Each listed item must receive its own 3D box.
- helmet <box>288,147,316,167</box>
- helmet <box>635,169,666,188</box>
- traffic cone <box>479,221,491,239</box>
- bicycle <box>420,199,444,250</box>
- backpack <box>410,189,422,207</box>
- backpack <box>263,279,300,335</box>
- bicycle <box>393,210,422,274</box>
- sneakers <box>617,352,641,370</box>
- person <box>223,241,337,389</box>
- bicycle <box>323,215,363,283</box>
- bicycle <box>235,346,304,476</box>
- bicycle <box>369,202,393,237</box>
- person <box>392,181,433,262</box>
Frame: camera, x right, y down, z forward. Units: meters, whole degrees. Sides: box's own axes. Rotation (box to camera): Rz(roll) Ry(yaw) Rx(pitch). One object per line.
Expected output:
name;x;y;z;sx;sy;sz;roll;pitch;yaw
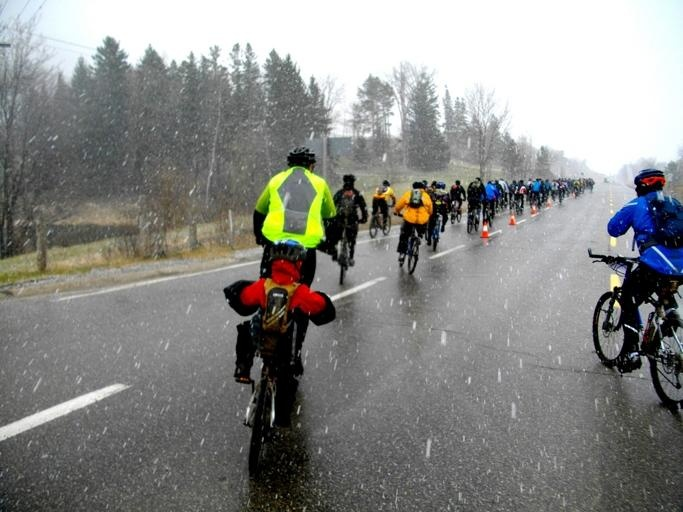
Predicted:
helmet;-0.425;-1.081;6.121;0.167;0.127;0.287;6;22;8
helmet;3.765;-0.946;6.795;0.318;0.341;0.269;8;9;31
traffic cone;5.790;-1.054;22.478;0.470;0.889;0.553;1;11;17
bicycle;2.791;-0.774;16.864;0.742;1.304;1.819;4;13;8
backpack;1.706;-1.321;12.838;0.230;0.179;0.344;2;52;11
backpack;-0.580;0.471;5.280;0.332;0.454;0.203;1;10;3
bicycle;1.594;-0.363;13.272;0.476;0.806;1.195;8;23;-3
sneakers;3.573;1.306;6.896;0.176;0.145;0.278;-10;4;22
person;-0.557;0.547;5.916;0.662;1.225;1.752;3;4;7
bicycle;0.035;-0.103;11.395;0.508;0.902;1.256;2;11;5
bicycle;-0.705;1.368;5.502;0.302;1.157;0.886;3;11;16
bicycle;1.497;-1.320;21.591;0.559;0.966;1.346;5;20;18
person;1.566;-1.290;13.732;0.633;1.638;2.018;-1;18;3
